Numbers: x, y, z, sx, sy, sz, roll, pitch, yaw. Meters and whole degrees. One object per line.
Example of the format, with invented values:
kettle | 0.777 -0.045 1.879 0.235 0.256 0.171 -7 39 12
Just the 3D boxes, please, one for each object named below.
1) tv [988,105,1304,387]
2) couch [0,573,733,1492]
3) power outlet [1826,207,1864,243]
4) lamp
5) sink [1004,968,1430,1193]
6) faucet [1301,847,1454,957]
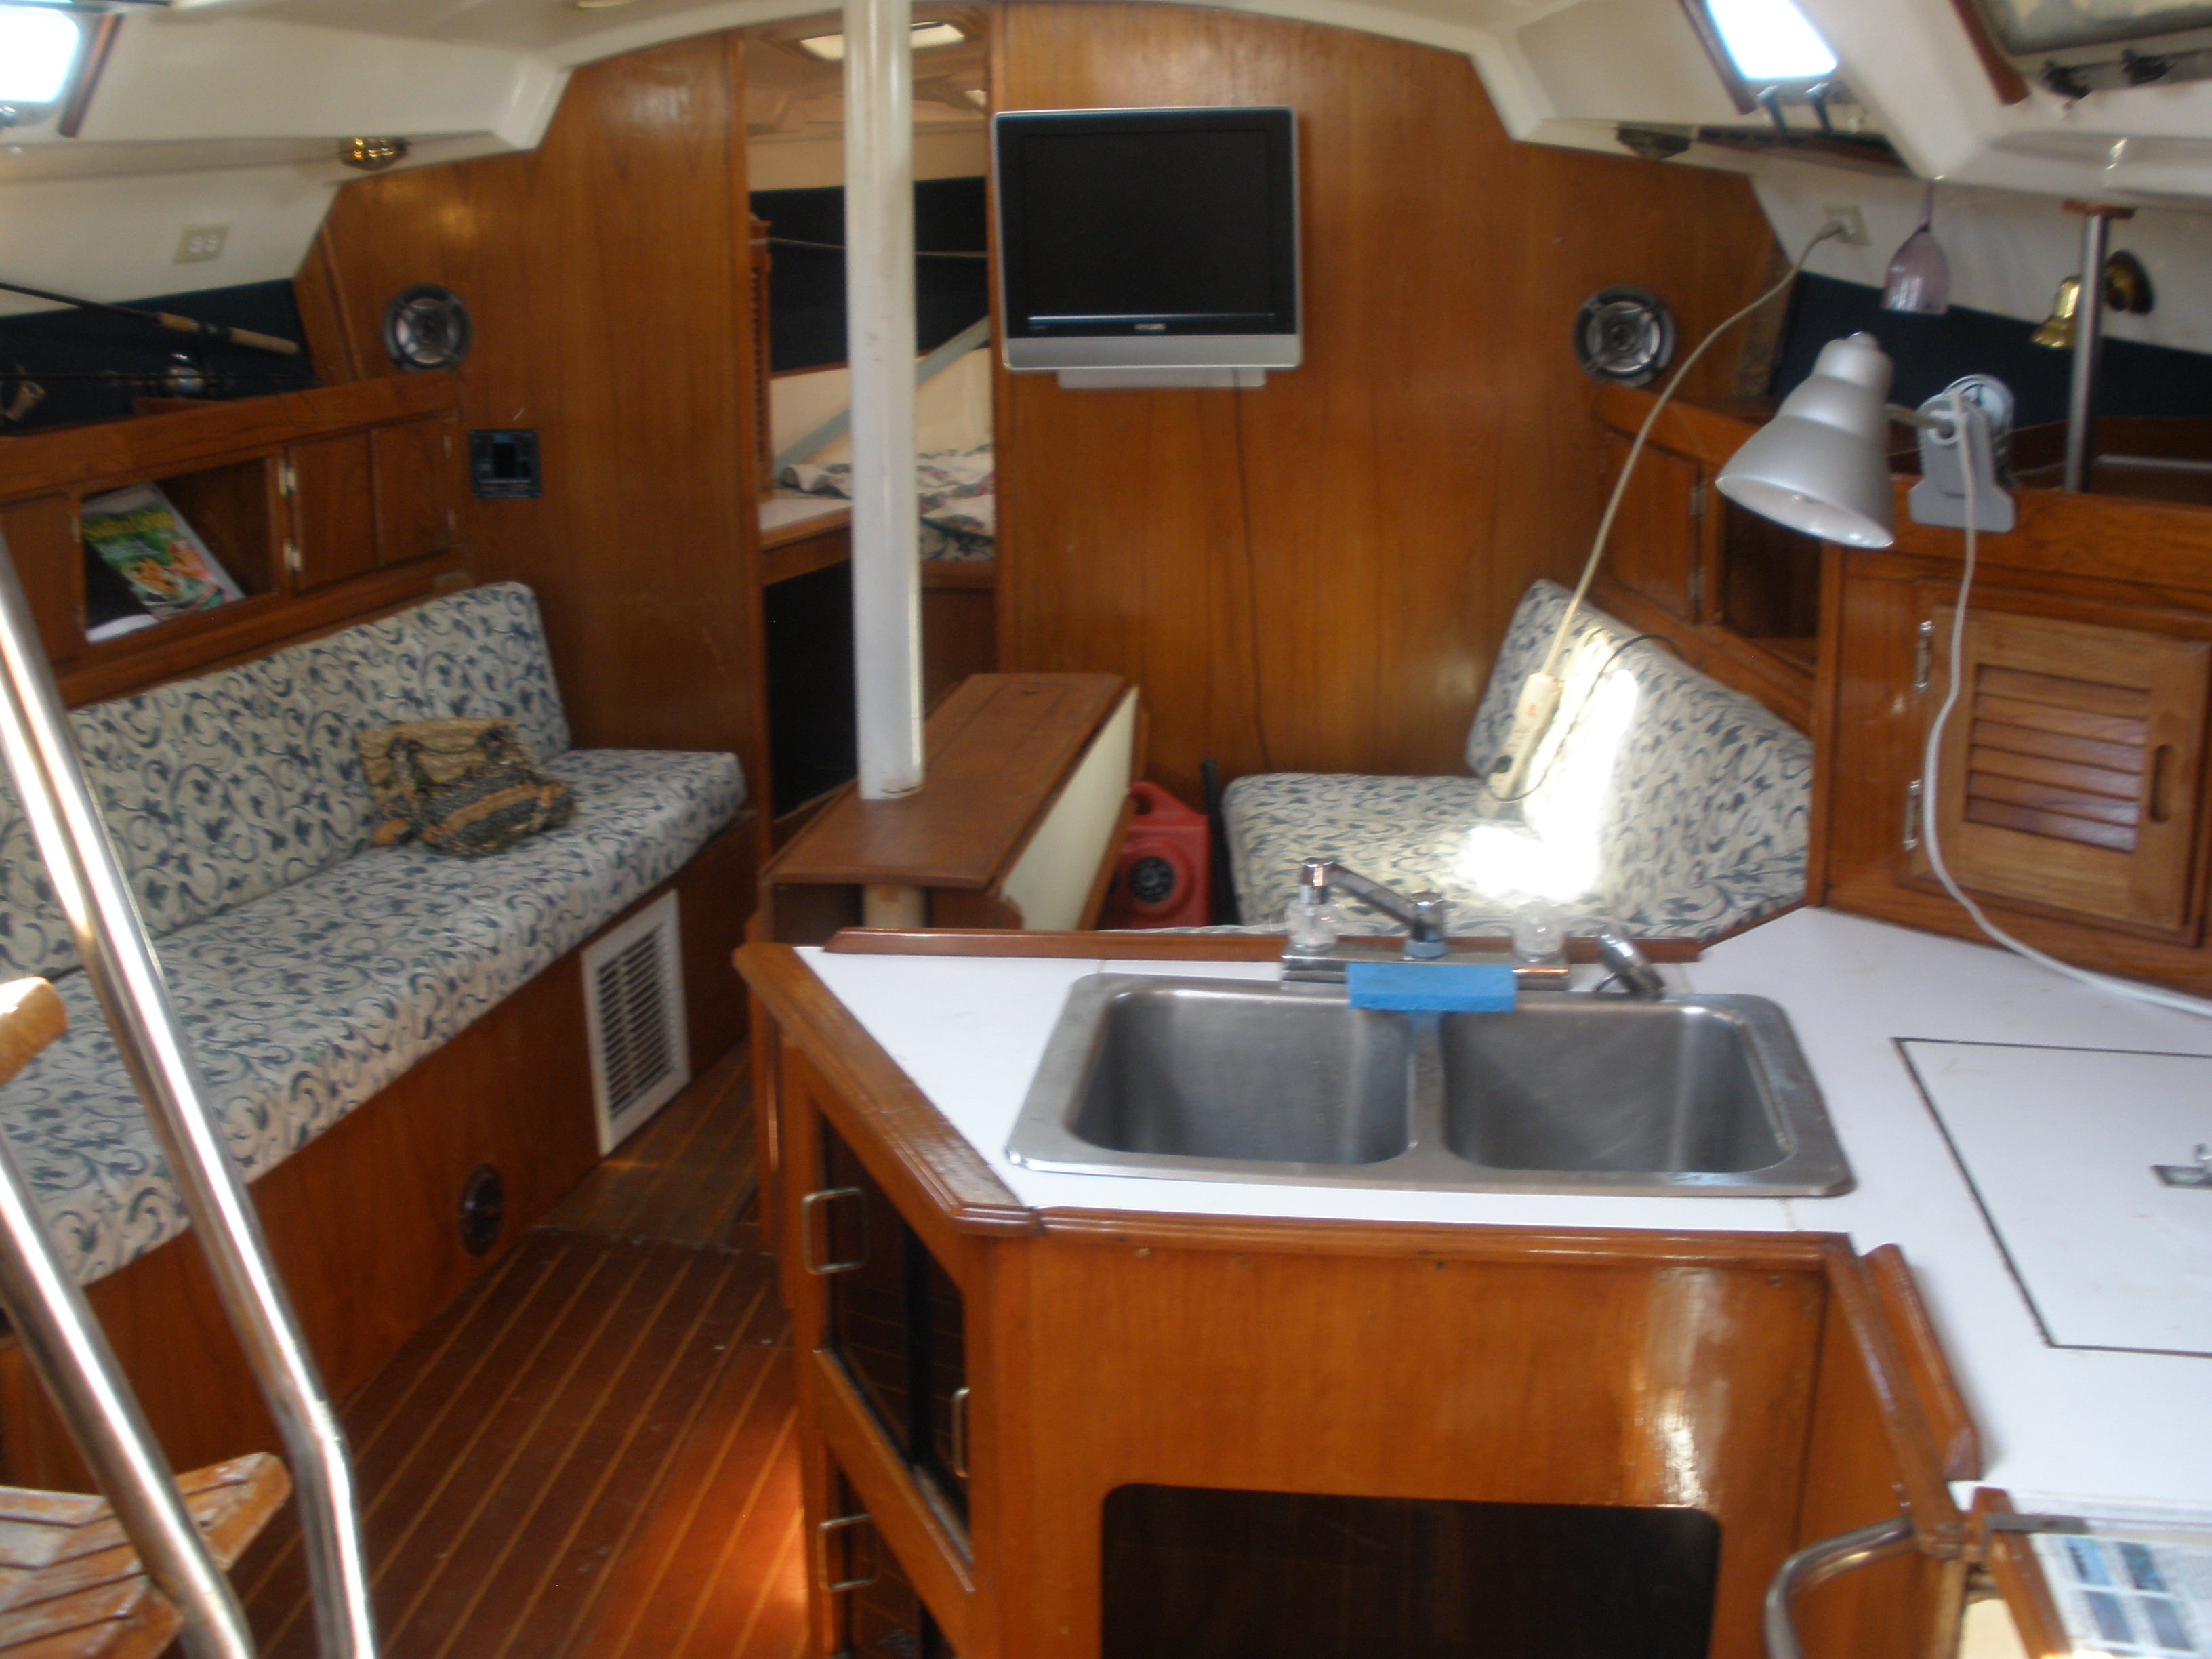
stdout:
tv | 0.060 -1.262 4.212 0.984 0.855 0.539 1 10 6
couch | -1.195 0.335 2.780 0.446 0.486 1.548 6 24 8
power outlet | 1.560 -1.275 3.585 0.073 0.048 0.074 -17 18 29
lamp | 0.873 -0.416 1.901 0.264 0.271 0.428 13 24 30
sink | 0.130 0.335 1.830 0.401 0.203 0.433 4 21 8
faucet | 0.330 0.074 2.022 0.161 0.116 0.194 6 22 13
